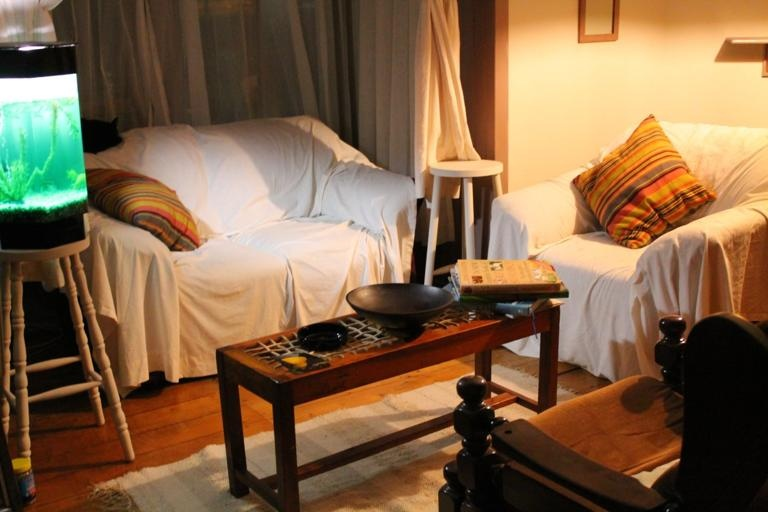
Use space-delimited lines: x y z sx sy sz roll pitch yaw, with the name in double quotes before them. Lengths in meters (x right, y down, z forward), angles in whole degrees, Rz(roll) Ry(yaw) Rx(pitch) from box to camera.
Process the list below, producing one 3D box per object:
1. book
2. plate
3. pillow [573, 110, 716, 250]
"book" 0.478 0.107 2.226 0.300 0.067 0.292 -1 23 1
"plate" 0.051 0.171 2.141 0.240 0.060 0.225 -7 13 -29
"pillow" 1.352 -0.327 3.055 0.209 0.657 0.659 25 28 -50
